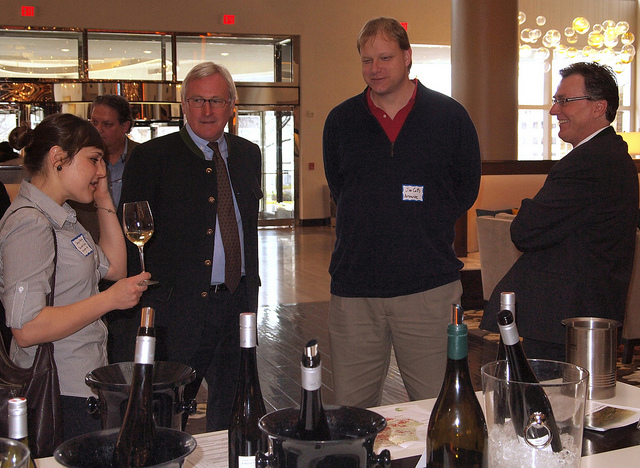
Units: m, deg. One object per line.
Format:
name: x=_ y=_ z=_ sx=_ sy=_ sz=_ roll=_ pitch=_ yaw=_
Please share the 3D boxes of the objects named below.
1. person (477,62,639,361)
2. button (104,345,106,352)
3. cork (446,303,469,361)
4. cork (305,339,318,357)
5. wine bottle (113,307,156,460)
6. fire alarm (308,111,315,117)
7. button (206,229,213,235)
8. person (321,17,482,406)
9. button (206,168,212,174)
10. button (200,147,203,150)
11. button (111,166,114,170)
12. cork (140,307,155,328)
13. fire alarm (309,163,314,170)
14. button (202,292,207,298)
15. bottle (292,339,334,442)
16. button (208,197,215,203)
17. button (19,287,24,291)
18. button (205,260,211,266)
person: x=1.233 y=-0.124 z=2.840 sx=0.636 sy=1.438 sz=0.434 roll=-2 pitch=5 yaw=-6
button: x=-0.797 y=0.424 z=2.158 sx=0.003 sy=0.018 sz=0.024 roll=-3 pitch=6 yaw=-15
cork: x=0.279 y=0.222 z=1.193 sx=0.040 sy=0.165 sz=0.042 roll=0 pitch=12 yaw=17
cork: x=-0.017 y=0.213 z=1.101 sx=0.029 sy=0.034 sz=0.027 roll=-1 pitch=0 yaw=-42
wine bottle: x=-0.365 y=0.336 z=1.176 sx=0.093 sy=0.376 sz=0.078 roll=0 pitch=1 yaw=-8
fire alarm: x=-0.213 y=-2.754 z=13.296 sx=0.113 sy=0.116 sz=0.115 roll=-3 pitch=16 yaw=-1
button: x=-0.474 y=-0.010 z=2.485 sx=0.022 sy=0.024 sz=0.008 roll=-1 pitch=-8 yaw=-11
person: x=0.349 y=-0.092 z=2.587 sx=0.691 sy=1.706 sz=0.378 roll=0 pitch=5 yaw=15
button: x=-0.489 y=-0.277 z=2.544 sx=0.024 sy=0.027 sz=0.008 roll=-2 pitch=-2 yaw=-3
button: x=-0.528 y=-0.382 z=2.576 sx=0.007 sy=0.003 sz=0.008 roll=-2 pitch=44 yaw=-35
button: x=-1.344 y=-0.433 z=3.765 sx=0.007 sy=0.016 sz=0.021 roll=1 pitch=7 yaw=26
cork: x=-0.344 y=0.162 z=1.159 sx=0.024 sy=0.040 sz=0.080 roll=-3 pitch=6 yaw=-16
fire alarm: x=-0.203 y=-1.578 z=13.334 sx=0.130 sy=0.199 sz=0.019 roll=0 pitch=8 yaw=8
button: x=-0.489 y=0.255 z=2.446 sx=0.018 sy=0.020 sz=0.005 roll=-4 pitch=6 yaw=-6
bottle: x=-0.013 y=0.307 z=1.149 sx=0.083 sy=0.223 sz=0.094 roll=-2 pitch=6 yaw=-13
button: x=-0.471 y=-0.149 z=2.514 sx=0.019 sy=0.021 sz=0.012 roll=-4 pitch=-1 yaw=-7
button: x=-0.947 y=0.173 z=1.843 sx=0.012 sy=0.013 sz=0.003 roll=0 pitch=-7 yaw=-18
button: x=-0.474 y=0.121 z=2.454 sx=0.023 sy=0.024 sz=0.005 roll=-1 pitch=5 yaw=-1
